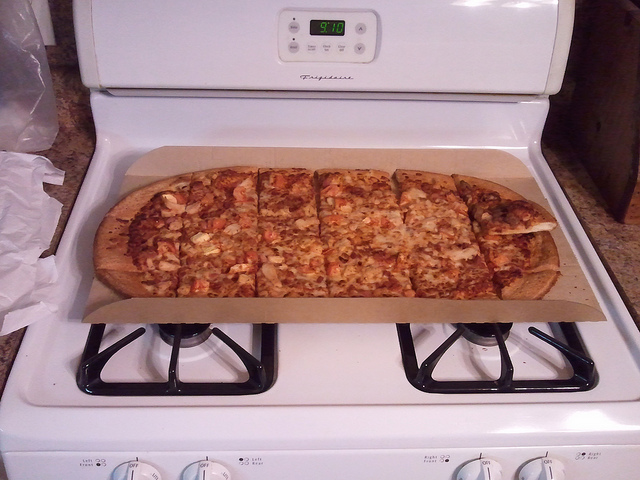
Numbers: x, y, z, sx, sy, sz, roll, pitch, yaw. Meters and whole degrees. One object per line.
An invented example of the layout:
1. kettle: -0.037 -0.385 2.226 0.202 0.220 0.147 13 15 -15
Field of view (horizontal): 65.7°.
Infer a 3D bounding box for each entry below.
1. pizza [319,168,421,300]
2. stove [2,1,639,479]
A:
1. pizza: 0.091 -0.021 1.070 0.216 0.039 0.279 -1 47 -3
2. stove: 0.017 0.126 1.307 1.556 0.484 0.926 0 54 1
